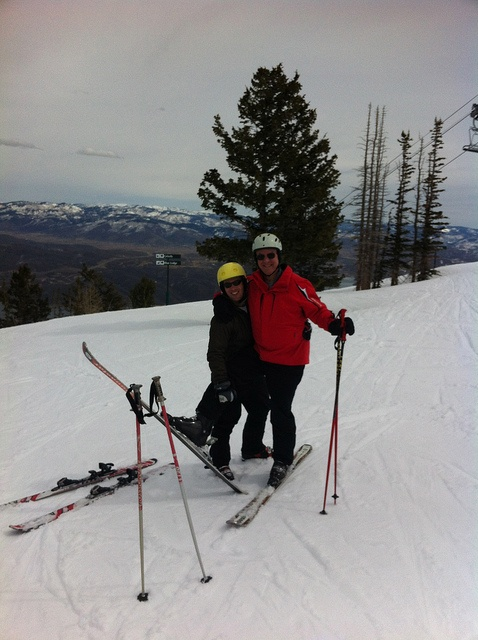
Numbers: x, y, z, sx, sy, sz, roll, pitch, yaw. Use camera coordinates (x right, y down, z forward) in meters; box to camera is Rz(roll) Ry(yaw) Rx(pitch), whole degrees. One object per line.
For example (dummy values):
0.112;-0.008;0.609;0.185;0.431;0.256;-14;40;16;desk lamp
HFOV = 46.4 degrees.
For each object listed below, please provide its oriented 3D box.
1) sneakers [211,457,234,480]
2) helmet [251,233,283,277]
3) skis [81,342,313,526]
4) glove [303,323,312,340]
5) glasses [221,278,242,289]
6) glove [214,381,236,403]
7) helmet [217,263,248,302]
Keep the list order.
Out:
-0.166;1.385;5.228;0.162;0.189;0.455;-7;-14;-10;sneakers
0.245;-0.557;4.945;0.246;0.408;0.236;-4;9;7;helmet
-0.441;1.218;5.824;2.186;0.213;0.222;39;-17;-11;skis
0.600;0.096;4.894;0.058;0.138;0.101;6;1;0;glove
-0.064;-0.318;4.875;0.185;0.099;0.122;-5;8;-3;glasses
-0.121;0.601;4.660;0.146;0.181;0.092;-5;-16;-2;glove
-0.059;-0.358;4.964;0.242;0.344;0.347;-22;13;6;helmet
